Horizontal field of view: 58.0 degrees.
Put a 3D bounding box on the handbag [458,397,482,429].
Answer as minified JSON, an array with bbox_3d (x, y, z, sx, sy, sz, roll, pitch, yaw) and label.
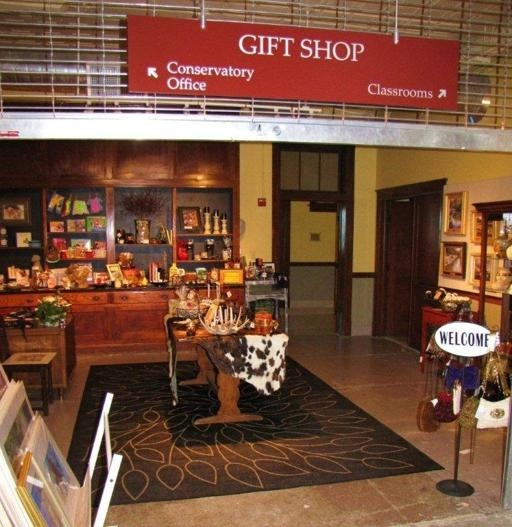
[{"bbox_3d":[1.464,1.024,3.176,0.172,0.212,0.054,-1,4,-31],"label":"handbag"}]

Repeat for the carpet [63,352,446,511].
[{"bbox_3d":[-0.302,1.475,4.532,2.775,0.063,2.983,0,3,-16],"label":"carpet"}]

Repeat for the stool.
[{"bbox_3d":[-2.198,1.184,4.664,0.581,0.626,0.549,-1,6,-4],"label":"stool"}]

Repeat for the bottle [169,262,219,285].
[{"bbox_3d":[-0.979,0.192,7.075,0.733,0.335,0.290,-1,17,-14],"label":"bottle"}]

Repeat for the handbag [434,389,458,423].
[{"bbox_3d":[1.278,0.976,3.125,0.140,0.233,0.122,2,4,25],"label":"handbag"}]

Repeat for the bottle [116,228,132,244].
[{"bbox_3d":[-2.040,-0.417,7.114,0.103,0.249,0.289,2,1,41],"label":"bottle"}]

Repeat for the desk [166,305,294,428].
[{"bbox_3d":[-0.353,1.169,5.022,1.270,0.785,1.798,0,-5,-19],"label":"desk"}]

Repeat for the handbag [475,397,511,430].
[{"bbox_3d":[1.627,1.034,3.133,0.253,0.225,0.064,0,-4,1],"label":"handbag"}]
